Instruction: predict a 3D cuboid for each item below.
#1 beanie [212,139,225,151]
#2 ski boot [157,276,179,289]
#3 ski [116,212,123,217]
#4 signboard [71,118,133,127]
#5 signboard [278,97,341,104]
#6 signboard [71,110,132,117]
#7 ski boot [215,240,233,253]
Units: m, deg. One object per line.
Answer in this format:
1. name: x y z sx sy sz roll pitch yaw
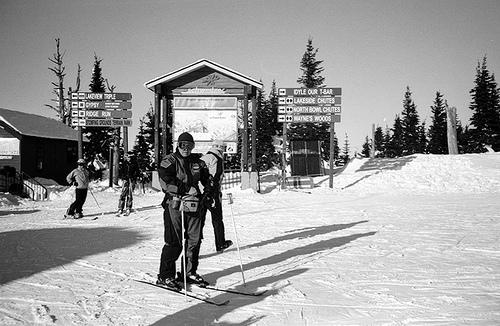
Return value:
1. beanie: -0.956 -0.531 12.663 0.332 0.331 0.364 0 6 -7
2. ski boot: -1.856 2.710 9.728 0.512 0.223 0.185 7 5 13
3. ski: -5.536 2.165 17.825 0.182 0.108 0.323 -1 6 -14
4. signboard: -10.008 -2.746 28.527 3.929 0.546 0.673 1 6 5
5. signboard: 3.966 -4.179 28.307 4.032 0.457 0.536 1 6 7
6. signboard: -10.009 -3.324 28.514 3.961 0.460 0.233 1 6 1
7. ski boot: -0.737 2.426 12.212 0.214 0.248 0.631 14 31 43
